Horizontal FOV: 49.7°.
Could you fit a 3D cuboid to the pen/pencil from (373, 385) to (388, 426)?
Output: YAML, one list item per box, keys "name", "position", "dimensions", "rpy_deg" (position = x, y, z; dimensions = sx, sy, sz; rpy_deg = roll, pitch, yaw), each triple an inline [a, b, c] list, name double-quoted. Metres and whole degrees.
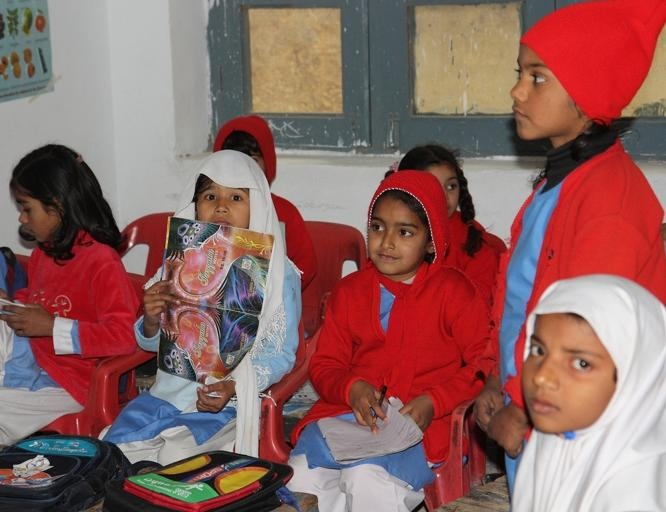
- name: "pen/pencil"
  position: [0.160, 0.448, 2.273]
  dimensions: [0.020, 0.169, 0.018]
  rpy_deg: [34, -34, -25]
